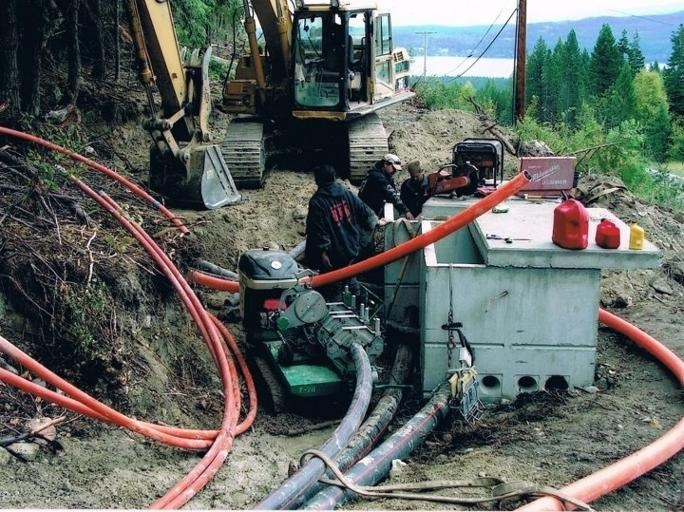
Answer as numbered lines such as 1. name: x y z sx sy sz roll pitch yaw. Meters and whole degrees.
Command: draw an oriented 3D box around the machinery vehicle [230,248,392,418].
1. machinery vehicle: -0.376 0.797 7.098 1.228 1.203 1.834 -3 15 -14
